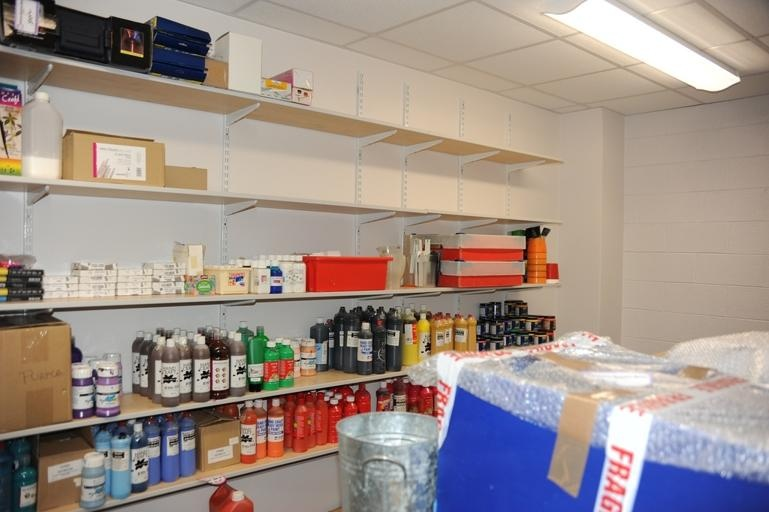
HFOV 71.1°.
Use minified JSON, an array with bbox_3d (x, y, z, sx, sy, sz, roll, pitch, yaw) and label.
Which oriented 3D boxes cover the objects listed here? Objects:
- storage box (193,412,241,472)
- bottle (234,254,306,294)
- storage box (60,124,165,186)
[{"bbox_3d":[-0.907,0.989,2.959,0.265,0.248,0.263,1,2,-38],"label":"storage box"},{"bbox_3d":[-0.642,0.111,3.025,0.422,0.210,0.146,-3,13,-24],"label":"bottle"},{"bbox_3d":[-1.300,-0.463,2.601,0.441,0.265,0.304,1,-2,-40],"label":"storage box"}]
